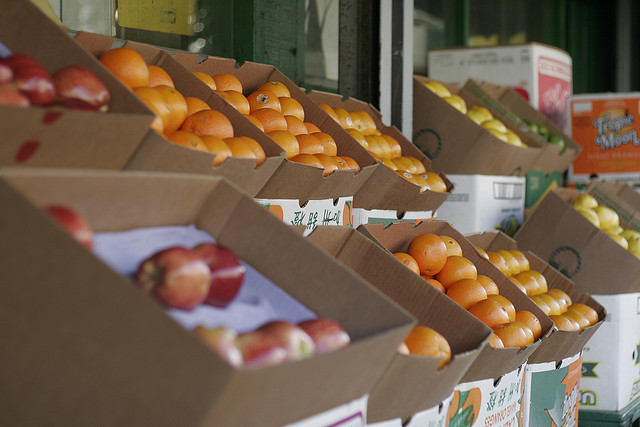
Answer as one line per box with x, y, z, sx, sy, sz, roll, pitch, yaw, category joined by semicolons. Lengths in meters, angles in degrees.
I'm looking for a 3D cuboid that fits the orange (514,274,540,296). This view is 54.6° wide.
0.862;0.289;2.529;0.063;0.056;0.088;2;9;8;orange

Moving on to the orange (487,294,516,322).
0.603;0.286;2.052;0.073;0.088;0.090;15;58;20;orange

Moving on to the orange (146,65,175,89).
-0.469;-0.403;1.830;0.057;0.075;0.067;-25;64;-3;orange

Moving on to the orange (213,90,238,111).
-0.304;-0.387;2.064;0.080;0.046;0.075;47;17;6;orange

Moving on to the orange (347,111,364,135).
0.165;-0.397;2.690;0.039;0.089;0.083;-11;29;0;orange

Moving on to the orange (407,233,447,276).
0.381;0.126;2.139;0.114;0.168;0.137;-11;27;14;orange

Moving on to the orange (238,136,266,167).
-0.192;-0.187;1.767;0.063;0.084;0.076;7;19;-9;orange

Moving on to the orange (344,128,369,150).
0.158;-0.298;2.485;0.063;0.066;0.095;5;6;6;orange

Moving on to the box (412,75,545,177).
0.846;-0.404;3.336;0.611;0.314;0.948;-2;36;-9;box

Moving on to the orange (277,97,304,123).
-0.100;-0.387;2.245;0.083;0.048;0.087;30;6;-5;orange

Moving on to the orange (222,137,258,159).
-0.214;-0.180;1.703;0.051;0.045;0.071;6;9;0;orange

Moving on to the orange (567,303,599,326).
1.088;0.399;2.534;0.078;0.033;0.087;28;26;3;orange

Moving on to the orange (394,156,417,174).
0.381;-0.206;2.665;0.062;0.071;0.041;-7;44;38;orange

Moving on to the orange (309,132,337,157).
0.024;-0.239;2.217;0.044;0.084;0.087;-30;72;-15;orange

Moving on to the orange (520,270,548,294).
0.923;0.274;2.652;0.079;0.100;0.087;23;-21;-12;orange

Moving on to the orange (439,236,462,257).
0.473;0.111;2.185;0.053;0.069;0.059;0;19;5;orange

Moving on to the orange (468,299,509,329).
0.534;0.310;1.934;0.081;0.103;0.088;7;-8;-1;orange

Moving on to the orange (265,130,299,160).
-0.120;-0.235;1.987;0.084;0.125;0.092;-3;12;-23;orange

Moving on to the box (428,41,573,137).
1.255;-0.894;4.073;0.622;0.608;0.697;0;-2;25;box

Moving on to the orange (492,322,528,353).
0.586;0.371;1.889;0.082;0.100;0.096;4;37;-7;orange

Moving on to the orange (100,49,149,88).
-0.550;-0.399;1.764;0.108;0.137;0.121;7;-19;-14;orange

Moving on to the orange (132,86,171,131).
-0.432;-0.303;1.648;0.091;0.129;0.100;21;10;-19;orange

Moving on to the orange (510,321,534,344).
0.659;0.370;2.003;0.066;0.084;0.072;6;-1;-19;orange

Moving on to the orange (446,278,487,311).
0.476;0.244;2.044;0.115;0.100;0.111;-10;65;-54;orange

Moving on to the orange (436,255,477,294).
0.460;0.204;2.134;0.104;0.151;0.112;17;-19;-4;orange

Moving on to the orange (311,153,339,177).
0.020;-0.172;2.008;0.056;0.047;0.078;5;27;6;orange

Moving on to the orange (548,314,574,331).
0.900;0.406;2.302;0.073;0.054;0.081;11;11;24;orange

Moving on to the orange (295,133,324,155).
-0.032;-0.231;2.066;0.066;0.047;0.076;14;-16;-1;orange

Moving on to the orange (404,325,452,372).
0.260;0.354;1.565;0.088;0.128;0.108;5;42;-15;orange

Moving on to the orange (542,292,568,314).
0.970;0.355;2.531;0.069;0.088;0.040;-14;-18;39;orange

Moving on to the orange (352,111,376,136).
0.211;-0.405;2.773;0.054;0.118;0.100;-21;14;-23;orange

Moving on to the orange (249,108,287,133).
-0.172;-0.329;2.061;0.083;0.104;0.094;5;13;-1;orange

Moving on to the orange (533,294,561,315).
0.913;0.352;2.462;0.073;0.048;0.070;25;36;5;orange

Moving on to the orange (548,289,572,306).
1.017;0.354;2.616;0.065;0.080;0.037;11;-29;-38;orange

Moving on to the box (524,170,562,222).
1.216;-0.091;3.387;0.111;0.259;0.219;10;5;42;box

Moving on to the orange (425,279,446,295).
0.387;0.234;2.034;0.048;0.063;0.064;11;-3;-8;orange
